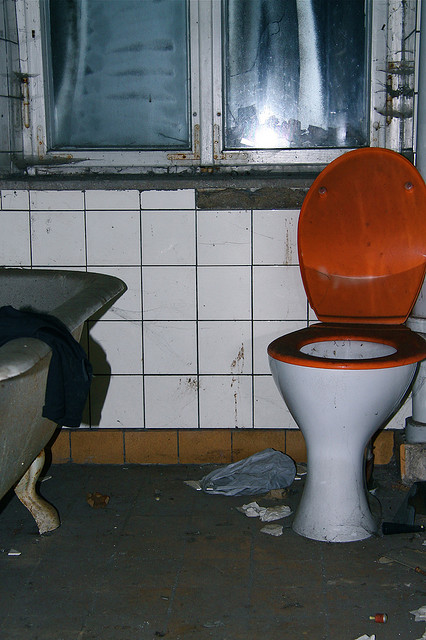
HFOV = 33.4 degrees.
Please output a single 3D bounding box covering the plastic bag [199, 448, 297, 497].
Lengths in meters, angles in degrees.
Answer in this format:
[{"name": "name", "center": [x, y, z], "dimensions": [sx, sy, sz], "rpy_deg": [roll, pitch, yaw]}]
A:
[{"name": "plastic bag", "center": [0.130, 0.409, 2.101], "dimensions": [0.352, 0.079, 0.312], "rpy_deg": [2, 8, 13]}]
